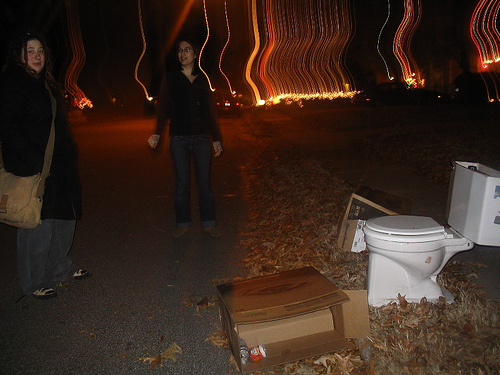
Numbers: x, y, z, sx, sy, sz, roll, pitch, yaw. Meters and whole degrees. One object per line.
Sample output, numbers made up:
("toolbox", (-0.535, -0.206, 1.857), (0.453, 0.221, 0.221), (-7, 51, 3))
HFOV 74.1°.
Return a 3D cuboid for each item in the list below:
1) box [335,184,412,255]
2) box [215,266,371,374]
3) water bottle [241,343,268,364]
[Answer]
("box", (1.525, 0.431, 4.196), (0.745, 0.771, 0.525), (25, 3, 6))
("box", (0.368, 1.176, 3.071), (1.197, 0.511, 0.736), (-8, 12, -17))
("water bottle", (0.025, 1.446, 2.877), (0.234, 0.129, 0.129), (-14, -27, -33))
